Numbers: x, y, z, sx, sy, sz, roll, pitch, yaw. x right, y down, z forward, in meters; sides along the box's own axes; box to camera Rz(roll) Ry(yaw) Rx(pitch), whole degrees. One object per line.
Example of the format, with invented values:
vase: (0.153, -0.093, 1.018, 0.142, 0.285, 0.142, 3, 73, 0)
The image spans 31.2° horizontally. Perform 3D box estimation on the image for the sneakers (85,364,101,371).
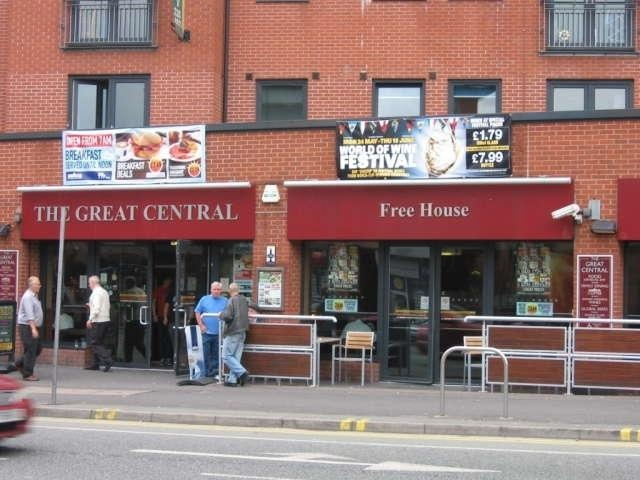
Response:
sneakers: (-5.488, 3.105, 27.731, 0.419, 0.157, 0.126, 3, -3, 22)

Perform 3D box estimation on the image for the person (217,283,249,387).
person: (-1.890, 2.137, 25.494, 0.592, 2.255, 0.377, 0, -3, -4)

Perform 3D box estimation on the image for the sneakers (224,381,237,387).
sneakers: (-1.981, 3.202, 25.462, 0.237, 0.099, 0.101, 3, 2, 22)

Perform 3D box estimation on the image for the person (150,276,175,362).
person: (-3.845, 2.029, 28.205, 0.510, 2.195, 0.204, 0, -3, -6)

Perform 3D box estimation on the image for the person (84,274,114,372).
person: (-5.303, 2.046, 27.636, 0.608, 2.272, 1.260, 1, -3, -12)

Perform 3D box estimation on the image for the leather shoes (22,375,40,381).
leather shoes: (-6.465, 3.126, 25.776, 0.364, 0.146, 0.127, -1, -4, 3)

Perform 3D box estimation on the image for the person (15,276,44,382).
person: (-6.590, 2.019, 26.000, 0.564, 2.328, 0.705, 1, -3, -14)
